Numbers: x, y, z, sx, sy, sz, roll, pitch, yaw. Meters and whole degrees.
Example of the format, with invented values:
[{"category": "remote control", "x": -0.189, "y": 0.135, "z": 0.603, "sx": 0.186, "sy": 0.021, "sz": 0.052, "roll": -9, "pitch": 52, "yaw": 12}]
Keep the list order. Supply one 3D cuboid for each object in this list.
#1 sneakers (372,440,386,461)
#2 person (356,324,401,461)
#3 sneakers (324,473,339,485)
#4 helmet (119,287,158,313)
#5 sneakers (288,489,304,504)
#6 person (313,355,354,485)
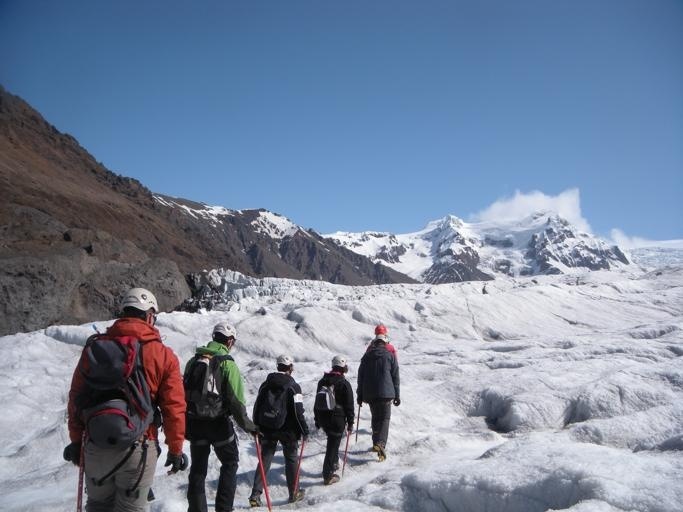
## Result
[{"category": "sneakers", "x": 0.835, "y": 4.406, "z": 12.789, "sx": 0.183, "sy": 0.493, "sz": 0.227, "roll": -31, "pitch": 3, "yaw": 13}, {"category": "person", "x": 0.860, "y": 3.149, "z": 13.299, "sx": 0.997, "sy": 3.069, "sz": 0.773, "roll": -3, "pitch": -14, "yaw": 0}, {"category": "sneakers", "x": -0.227, "y": 4.693, "z": 11.949, "sx": 0.146, "sy": 0.150, "sz": 0.344, "roll": 1, "pitch": 6, "yaw": 39}, {"category": "helmet", "x": -3.276, "y": 0.715, "z": 9.267, "sx": 0.385, "sy": 0.443, "sz": 0.497, "roll": 0, "pitch": -16, "yaw": 11}, {"category": "sneakers", "x": -0.884, "y": 4.707, "z": 11.131, "sx": 0.301, "sy": 0.216, "sz": 0.246, "roll": 0, "pitch": -14, "yaw": -12}, {"category": "person", "x": -0.161, "y": 3.500, "z": 12.203, "sx": 0.852, "sy": 2.640, "sz": 0.570, "roll": -2, "pitch": -14, "yaw": -3}]
